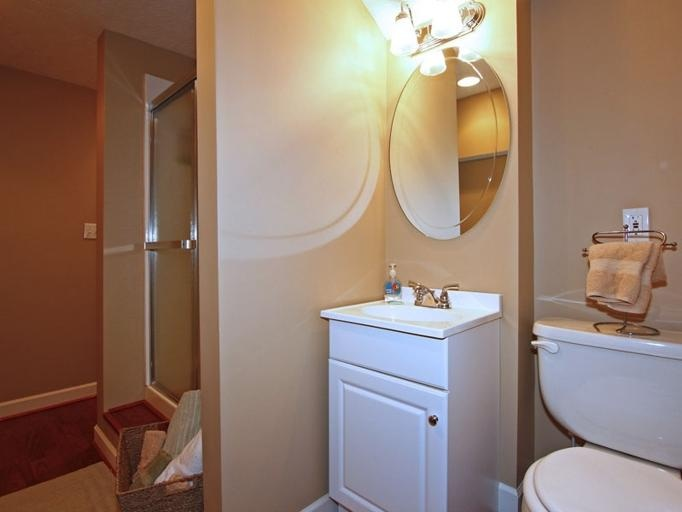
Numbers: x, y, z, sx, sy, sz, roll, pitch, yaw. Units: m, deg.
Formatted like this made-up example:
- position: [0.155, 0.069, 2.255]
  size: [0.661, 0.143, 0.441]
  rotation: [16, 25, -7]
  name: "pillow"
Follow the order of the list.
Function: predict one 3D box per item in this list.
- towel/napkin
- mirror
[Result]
- position: [1.374, 0.134, 2.538]
  size: [0.352, 0.405, 0.327]
  rotation: [1, 6, 33]
  name: "towel/napkin"
- position: [0.584, -0.586, 2.879]
  size: [0.686, 0.971, 0.109]
  rotation: [2, 6, 35]
  name: "mirror"
